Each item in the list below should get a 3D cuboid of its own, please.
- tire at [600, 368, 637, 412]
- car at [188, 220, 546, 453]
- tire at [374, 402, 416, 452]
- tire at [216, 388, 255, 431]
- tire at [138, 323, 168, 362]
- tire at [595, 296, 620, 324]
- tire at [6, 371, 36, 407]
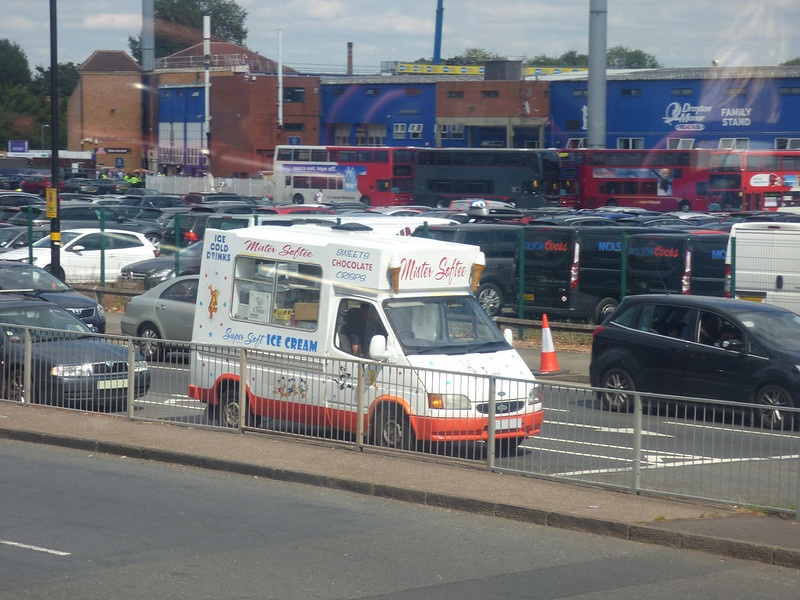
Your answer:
[{"bbox_3d":[4.090,1.724,29.534,0.313,0.825,0.899,-3,4,-30],"label":"tire"},{"bbox_3d":[-0.666,0.661,27.269,6.243,3.553,1.786,4,5,26],"label":"car"},{"bbox_3d":[-0.129,2.133,26.402,0.786,0.768,0.160,4,5,27],"label":"tire"},{"bbox_3d":[-2.844,2.032,27.819,0.253,0.644,0.700,-2,8,-41],"label":"tire"},{"bbox_3d":[-4.690,0.870,30.350,0.156,0.436,0.458,13,15,-46],"label":"tire"},{"bbox_3d":[4.533,0.277,34.949,0.238,0.621,0.680,1,3,38],"label":"tire"},{"bbox_3d":[-6.946,1.673,29.296,0.699,0.634,0.224,2,4,32],"label":"tire"}]
